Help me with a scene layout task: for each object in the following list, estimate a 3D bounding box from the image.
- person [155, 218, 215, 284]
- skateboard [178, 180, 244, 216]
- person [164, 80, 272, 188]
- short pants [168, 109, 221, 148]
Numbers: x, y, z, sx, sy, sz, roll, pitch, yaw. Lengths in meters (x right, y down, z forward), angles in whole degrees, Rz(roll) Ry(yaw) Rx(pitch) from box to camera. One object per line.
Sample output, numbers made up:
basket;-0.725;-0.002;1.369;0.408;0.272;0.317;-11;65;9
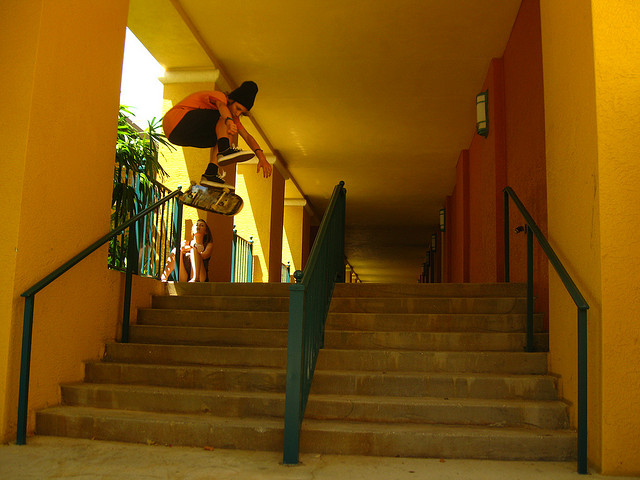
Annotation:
person;-1.499;0.121;7.098;0.419;0.776;0.355;4;-9;-12
skateboard;-1.153;-0.432;6.277;0.580;0.317;0.176;16;-5;-29
person;-1.092;-1.262;6.482;1.046;1.352;0.712;-1;-25;17
short pants;-1.370;-1.217;6.435;0.526;0.333;0.464;5;-9;-15
